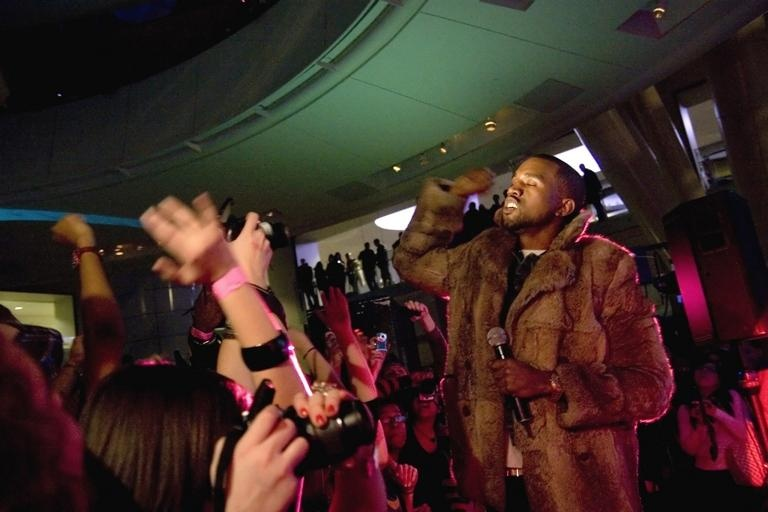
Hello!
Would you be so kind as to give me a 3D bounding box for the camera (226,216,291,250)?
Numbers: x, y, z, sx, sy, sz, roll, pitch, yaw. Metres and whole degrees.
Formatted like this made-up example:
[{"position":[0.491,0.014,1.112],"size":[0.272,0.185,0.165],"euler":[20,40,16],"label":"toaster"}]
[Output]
[{"position":[-0.695,-0.112,2.822],"size":[0.235,0.230,0.138],"euler":[-5,-51,11],"label":"camera"}]
